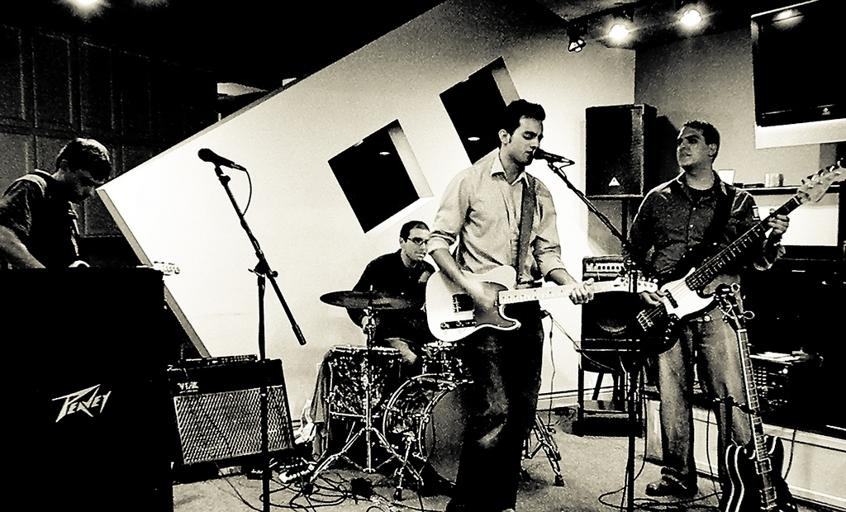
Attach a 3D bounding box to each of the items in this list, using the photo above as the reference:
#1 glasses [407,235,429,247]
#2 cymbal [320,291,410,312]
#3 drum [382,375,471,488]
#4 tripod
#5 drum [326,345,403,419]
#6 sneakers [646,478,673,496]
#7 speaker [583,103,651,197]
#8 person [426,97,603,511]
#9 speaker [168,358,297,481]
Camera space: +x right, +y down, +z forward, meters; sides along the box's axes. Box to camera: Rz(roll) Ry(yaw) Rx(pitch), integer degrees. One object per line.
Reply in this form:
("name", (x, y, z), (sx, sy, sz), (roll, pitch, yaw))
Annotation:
("glasses", (-0.031, -0.130, 6.707), (0.096, 0.077, 0.196), (-4, 2, -45))
("cymbal", (-0.447, 0.359, 5.980), (0.698, 0.189, 0.346), (-3, 1, -8))
("drum", (-0.168, 1.369, 6.115), (0.511, 0.774, 0.824), (23, -36, -8))
("tripod", (-0.470, 1.231, 6.296), (0.934, 0.981, 1.011), (5, 1, 32))
("drum", (-0.501, 0.982, 6.165), (0.587, 0.532, 0.572), (2, -3, -25))
("sneakers", (1.803, 1.783, 5.818), (0.220, 0.094, 0.094), (2, -9, -4))
("speaker", (1.931, -1.063, 7.627), (0.717, 0.939, 0.589), (0, 19, 14))
("person", (0.571, 0.399, 5.335), (0.991, 2.936, 0.502), (-3, 2, -20))
("speaker", (-1.243, 1.001, 5.076), (0.803, 0.710, 0.446), (-6, 11, -8))
